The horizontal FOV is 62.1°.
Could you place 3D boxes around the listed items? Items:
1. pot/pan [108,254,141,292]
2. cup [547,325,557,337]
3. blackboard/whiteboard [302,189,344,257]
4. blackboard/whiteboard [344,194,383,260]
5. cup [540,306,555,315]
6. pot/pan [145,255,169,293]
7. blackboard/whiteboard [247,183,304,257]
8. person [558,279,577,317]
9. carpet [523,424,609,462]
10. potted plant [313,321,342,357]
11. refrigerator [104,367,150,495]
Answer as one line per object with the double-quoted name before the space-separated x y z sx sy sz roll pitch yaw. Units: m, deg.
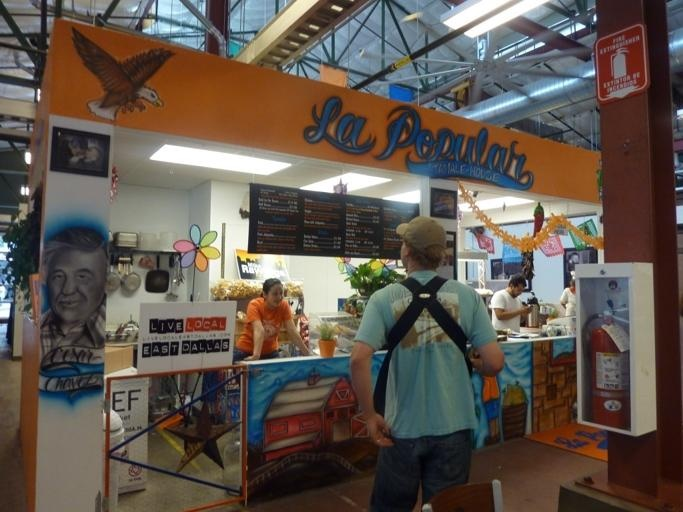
"pot/pan" -2.945 0.259 7.642 0.342 0.541 0.151 4 -13 -34
"cup" 2.719 0.975 7.320 0.102 0.120 0.108 0 -1 0
"blackboard/whiteboard" -0.219 -0.347 6.228 0.649 0.961 0.092 1 -1 -30
"blackboard/whiteboard" 0.236 -0.325 6.462 0.648 0.976 0.065 3 -5 -33
"cup" 3.647 0.928 10.030 0.226 0.134 0.225 5 15 -1
"pot/pan" -2.569 0.331 7.902 0.321 0.372 0.072 3 -3 -40
"blackboard/whiteboard" -0.695 -0.376 5.986 0.730 0.923 0.089 -2 3 -36
"person" 4.026 0.742 10.114 0.233 0.627 1.740 0 -2 21
"carpet" 2.646 2.043 6.506 0.819 0.185 0.991 0 -2 33
"potted plant" -0.176 0.829 5.712 0.270 0.470 0.284 2 -2 -14
"refrigerator" -1.922 1.584 5.120 0.327 1.167 0.798 2 -2 -19
